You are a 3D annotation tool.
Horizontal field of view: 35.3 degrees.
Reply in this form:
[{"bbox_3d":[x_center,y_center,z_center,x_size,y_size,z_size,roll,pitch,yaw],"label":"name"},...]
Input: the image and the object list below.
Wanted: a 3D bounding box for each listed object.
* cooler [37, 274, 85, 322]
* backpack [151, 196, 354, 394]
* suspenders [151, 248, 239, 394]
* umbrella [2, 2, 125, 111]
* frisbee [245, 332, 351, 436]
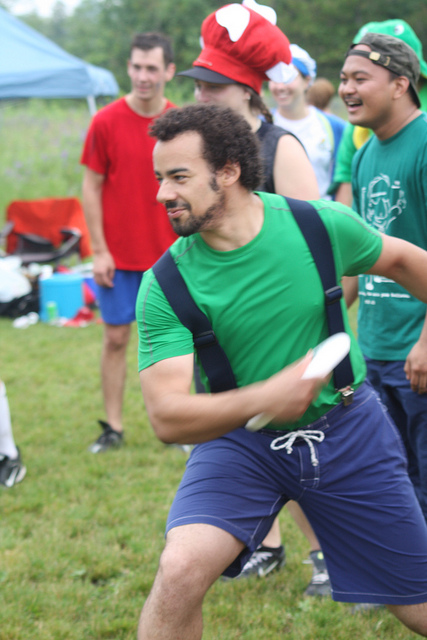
[{"bbox_3d":[-1.534,-0.236,6.755,0.424,0.345,0.894,-5,14,-12],"label":"cooler"},{"bbox_3d":[0.105,-0.074,1.938,0.466,0.544,0.328,-30,4,-11],"label":"backpack"},{"bbox_3d":[-0.083,0.017,1.973,0.203,0.428,0.158,9,19,35],"label":"suspenders"},{"bbox_3d":[-0.625,-0.891,2.425,0.424,0.249,0.414,7,16,31],"label":"umbrella"},{"bbox_3d":[0.237,0.167,1.782,0.358,0.207,0.121,-14,19,-42],"label":"frisbee"}]
